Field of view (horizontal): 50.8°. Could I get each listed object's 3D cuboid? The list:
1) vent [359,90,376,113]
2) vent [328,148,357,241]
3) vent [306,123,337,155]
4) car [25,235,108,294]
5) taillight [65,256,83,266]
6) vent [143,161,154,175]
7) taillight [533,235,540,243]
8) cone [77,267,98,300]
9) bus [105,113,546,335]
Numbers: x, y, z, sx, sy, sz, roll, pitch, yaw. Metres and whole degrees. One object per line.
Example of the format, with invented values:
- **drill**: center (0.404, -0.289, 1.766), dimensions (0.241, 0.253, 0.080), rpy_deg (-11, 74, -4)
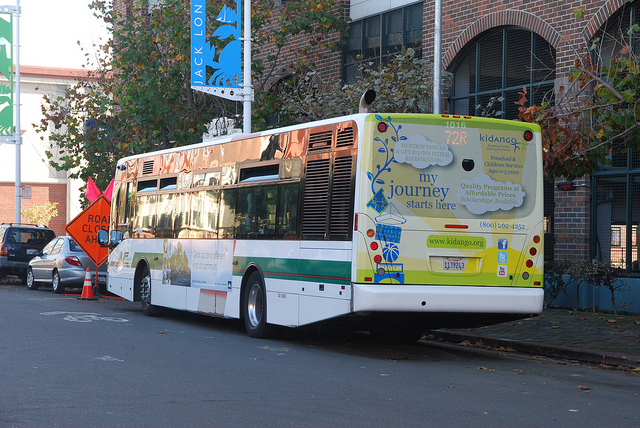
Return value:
- **vent**: center (0.844, -1.964, 12.010), dimensions (0.236, 0.501, 0.737), rpy_deg (2, -5, 4)
- **vent**: center (0.367, -0.317, 11.284), dimensions (0.083, 1.506, 0.669), rpy_deg (5, -5, -31)
- **vent**: center (0.012, -1.300, 11.838), dimensions (0.099, 0.535, 0.781), rpy_deg (17, 22, 42)
- **car**: center (-9.125, 1.749, 23.595), dimensions (0.625, 1.972, 3.897), rpy_deg (6, -7, -41)
- **taillight**: center (-8.314, 1.569, 22.699), dimensions (0.617, 0.312, 0.128), rpy_deg (1, -5, 21)
- **vent**: center (-4.355, -1.184, 17.094), dimensions (0.026, 0.259, 0.350), rpy_deg (8, -10, -35)
- **taillight**: center (3.718, 0.435, 11.577), dimensions (0.118, 0.120, 0.020), rpy_deg (4, -5, -17)
- **cone**: center (-7.139, 2.201, 20.711), dimensions (0.715, 1.028, 0.725), rpy_deg (3, -9, -18)
- **bus**: center (-1.355, 0.416, 14.831), dimensions (12.009, 4.185, 2.876), rpy_deg (-3, -7, 45)
